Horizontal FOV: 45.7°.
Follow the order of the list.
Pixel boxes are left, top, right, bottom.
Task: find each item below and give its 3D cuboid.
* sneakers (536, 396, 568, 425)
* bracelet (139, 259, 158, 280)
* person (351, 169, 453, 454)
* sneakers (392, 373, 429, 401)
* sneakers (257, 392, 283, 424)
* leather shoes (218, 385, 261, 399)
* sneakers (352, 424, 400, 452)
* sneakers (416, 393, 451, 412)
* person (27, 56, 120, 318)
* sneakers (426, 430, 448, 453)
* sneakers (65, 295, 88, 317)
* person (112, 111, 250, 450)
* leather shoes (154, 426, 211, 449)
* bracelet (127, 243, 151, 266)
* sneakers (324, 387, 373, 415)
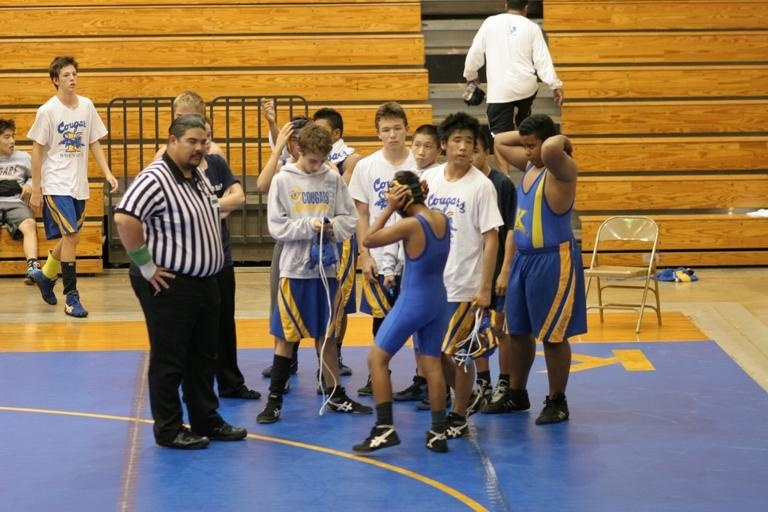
[{"bbox_3d":[1.406,1.279,7.505,0.361,0.219,0.156,0,-4,-22],"label":"sneakers"},{"bbox_3d":[-1.754,0.099,6.843,0.122,0.129,0.145,-19,-11,-9],"label":"bracelet"},{"bbox_3d":[0.169,0.431,6.978,0.660,2.147,0.427,0,8,4],"label":"person"},{"bbox_3d":[0.269,1.174,7.974,0.396,0.239,0.143,1,-2,10],"label":"sneakers"},{"bbox_3d":[-0.926,1.255,7.478,0.138,0.216,0.339,0,-3,14],"label":"sneakers"},{"bbox_3d":[-1.256,1.201,8.040,0.413,0.155,0.132,-1,-4,1],"label":"leather shoes"},{"bbox_3d":[-0.041,1.404,6.993,0.423,0.190,0.163,-12,10,27],"label":"sneakers"},{"bbox_3d":[0.422,1.256,7.820,0.346,0.124,0.119,0,-1,-7],"label":"sneakers"},{"bbox_3d":[-3.531,-0.793,10.171,0.877,2.824,0.839,-3,9,-19],"label":"person"},{"bbox_3d":[0.405,1.430,7.011,0.130,0.122,0.189,0,7,-7],"label":"sneakers"},{"bbox_3d":[-3.413,0.530,10.045,0.247,0.255,0.288,-3,8,-17],"label":"sneakers"},{"bbox_3d":[-1.579,0.306,6.997,0.878,2.363,0.358,-3,9,-15],"label":"person"},{"bbox_3d":[-1.571,1.405,7.080,0.386,0.153,0.165,-2,-4,1],"label":"leather shoes"},{"bbox_3d":[-1.825,-0.012,6.794,0.166,0.158,0.155,-2,8,-14],"label":"bracelet"},{"bbox_3d":[-0.241,1.246,7.819,0.528,0.235,0.165,2,-3,0],"label":"sneakers"}]
